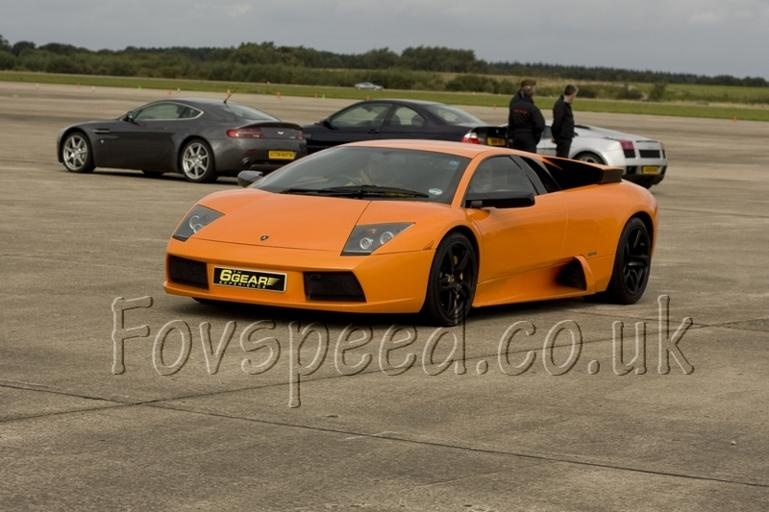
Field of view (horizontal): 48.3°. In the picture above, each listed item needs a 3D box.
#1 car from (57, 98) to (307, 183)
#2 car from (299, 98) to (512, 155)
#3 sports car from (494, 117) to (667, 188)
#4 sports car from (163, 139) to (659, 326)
[{"bbox_3d":[-4.321,-2.315,17.500,4.181,1.015,2.146,6,9,25],"label":"car"},{"bbox_3d":[0.272,-2.758,17.881,3.307,0.886,1.611,5,9,31],"label":"car"},{"bbox_3d":[4.283,-2.056,18.301,3.051,0.673,1.596,15,9,14],"label":"sports car"},{"bbox_3d":[0.541,-0.176,8.089,2.172,0.893,3.586,1,0,41],"label":"sports car"}]
